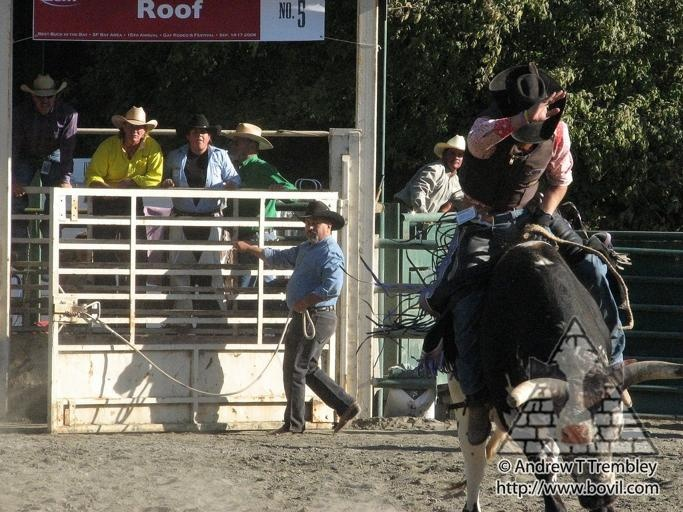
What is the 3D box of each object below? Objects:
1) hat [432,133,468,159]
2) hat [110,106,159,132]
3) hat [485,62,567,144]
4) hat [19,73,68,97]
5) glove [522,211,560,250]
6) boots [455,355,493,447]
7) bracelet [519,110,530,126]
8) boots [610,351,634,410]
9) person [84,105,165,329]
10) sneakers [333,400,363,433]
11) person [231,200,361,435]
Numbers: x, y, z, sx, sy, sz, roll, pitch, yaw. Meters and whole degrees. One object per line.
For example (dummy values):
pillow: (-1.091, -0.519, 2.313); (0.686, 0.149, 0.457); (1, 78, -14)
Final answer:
hat: (1.387, -1.383, 21.167); (0.398, 0.165, 0.452); (0, -3, 15)
hat: (-2.557, -1.726, 20.385); (0.434, 0.186, 0.471); (4, -11, -11)
hat: (1.757, -1.496, 16.081); (0.711, 0.784, 0.317); (-7, -11, -4)
hat: (-3.779, -2.117, 21.189); (0.466, 0.177, 0.468); (-1, 0, -10)
glove: (1.912, -0.260, 16.197); (0.339, 0.336, 0.267); (0, 4, 0)
boots: (1.262, 1.382, 16.289); (0.338, 0.952, 0.295); (1, 4, 8)
bracelet: (1.716, -1.301, 15.865); (0.033, 0.105, 0.114); (10, 28, -2)
boots: (2.682, 1.169, 15.582); (0.181, 0.461, 0.357); (-2, -3, -23)
person: (-2.613, -0.572, 19.956); (0.930, 2.380, 1.303); (0, 4, -7)
sneakers: (0.050, 1.808, 18.987); (0.202, 0.478, 0.163); (25, 38, -17)
person: (-0.364, 0.680, 18.945); (1.092, 2.593, 0.550); (0, 4, -3)
